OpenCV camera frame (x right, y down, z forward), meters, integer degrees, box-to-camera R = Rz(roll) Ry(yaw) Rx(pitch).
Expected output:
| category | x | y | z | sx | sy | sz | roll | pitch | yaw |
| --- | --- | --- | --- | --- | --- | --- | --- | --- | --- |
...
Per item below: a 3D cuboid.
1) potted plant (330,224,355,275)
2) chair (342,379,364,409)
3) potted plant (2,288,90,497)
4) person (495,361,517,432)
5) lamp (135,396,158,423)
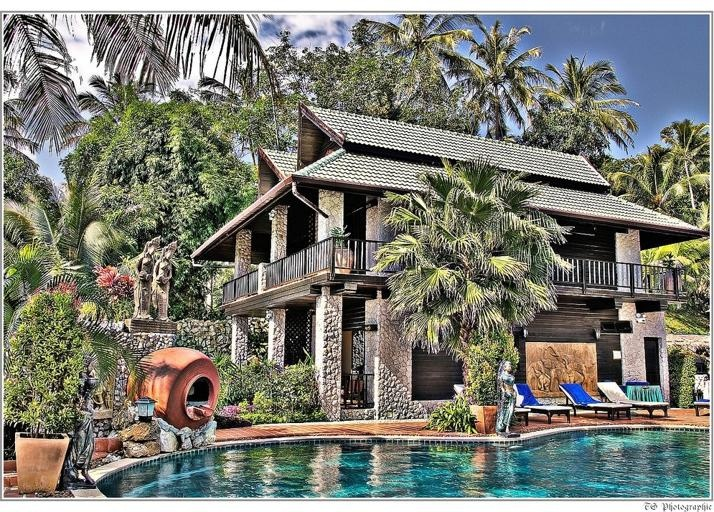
| category | x | y | z | sx | sy | sz | roll | pitch | yaw |
| --- | --- | --- | --- | --- | --- | --- | --- | --- | --- |
| potted plant | -0.484 | -0.217 | 21.389 | 0.706 | 1.713 | 0.785 | -1 | -15 | -1 |
| chair | -0.199 | 4.844 | 23.723 | 0.904 | 1.263 | 0.879 | 7 | -12 | -32 |
| potted plant | -5.860 | 2.532 | 12.558 | 1.365 | 3.612 | 0.881 | 5 | -16 | -23 |
| person | 4.068 | 3.924 | 18.553 | 0.588 | 2.004 | 0.558 | -5 | -15 | 13 |
| lamp | -4.963 | 3.498 | 15.388 | 0.498 | 0.693 | 0.523 | -4 | -8 | 20 |
